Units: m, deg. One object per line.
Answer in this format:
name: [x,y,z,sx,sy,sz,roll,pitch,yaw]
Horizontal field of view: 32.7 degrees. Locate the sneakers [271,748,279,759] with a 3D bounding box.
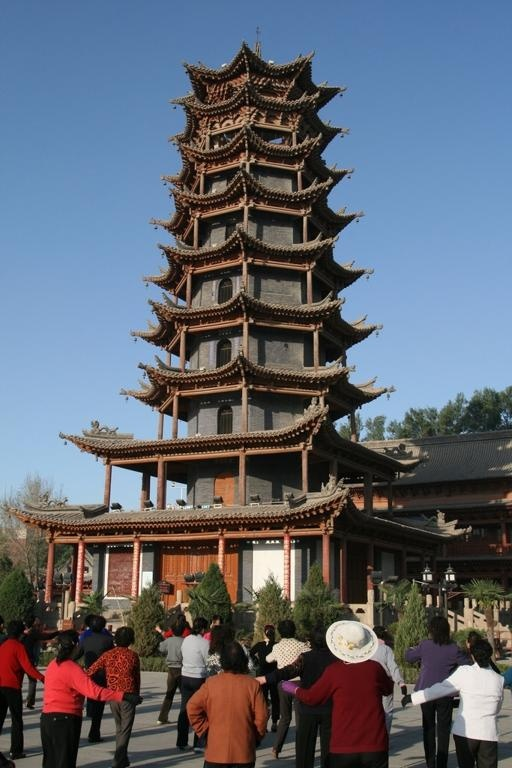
sneakers: [0.244,4.616,10.878,0.067,0.142,0.054,0,1,-24]

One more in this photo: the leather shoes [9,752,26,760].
leather shoes: [-2.895,4.539,10.635,0.073,0.088,0.212,-4,-14,29]

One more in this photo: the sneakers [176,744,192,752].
sneakers: [-0.930,4.760,11.365,0.077,0.138,0.221,-6,-15,37]
